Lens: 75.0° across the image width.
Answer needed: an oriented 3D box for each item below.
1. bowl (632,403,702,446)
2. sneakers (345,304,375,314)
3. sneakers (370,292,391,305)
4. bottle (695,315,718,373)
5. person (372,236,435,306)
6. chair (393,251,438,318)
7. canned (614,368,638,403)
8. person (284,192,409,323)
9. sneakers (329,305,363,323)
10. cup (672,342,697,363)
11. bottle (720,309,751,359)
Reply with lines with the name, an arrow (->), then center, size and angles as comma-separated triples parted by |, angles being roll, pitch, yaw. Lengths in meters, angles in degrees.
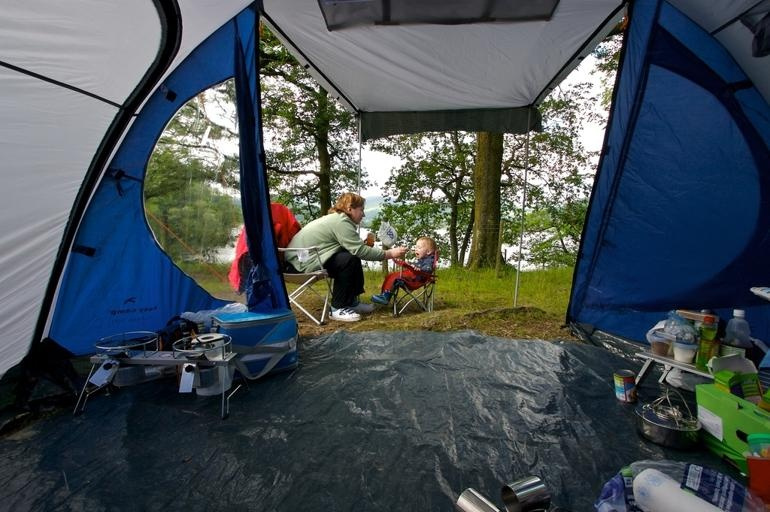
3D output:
bowl -> 1.949, 1.133, 3.469 | 0.386, 0.249, 0.392 | 2, 9, 0
sneakers -> -0.254, 0.594, 5.760 | 0.250, 0.107, 0.101 | -3, 3, -7
sneakers -> -0.074, 0.492, 5.887 | 0.250, 0.158, 0.116 | 9, -1, 11
bottle -> 2.374, 0.620, 3.684 | 0.130, 0.363, 0.313 | 4, 7, 33
person -> 0.264, 0.196, 5.953 | 0.798, 0.958, 0.616 | 3, -10, 0
chair -> 0.342, 0.297, 5.861 | 0.580, 0.729, 0.662 | 7, 3, 15
canned -> 1.798, 0.969, 3.754 | 0.161, 0.182, 0.164 | -7, 3, -1
person -> -0.451, -0.031, 5.567 | 1.312, 1.346, 0.708 | 1, 2, 4
sneakers -> -0.421, 0.624, 5.350 | 0.339, 0.157, 0.137 | 1, -1, 5
cup -> 2.205, 0.711, 3.694 | 0.141, 0.111, 0.143 | 5, 1, 0
bottle -> 2.628, 0.545, 3.726 | 0.170, 0.303, 0.274 | 7, 9, 44
